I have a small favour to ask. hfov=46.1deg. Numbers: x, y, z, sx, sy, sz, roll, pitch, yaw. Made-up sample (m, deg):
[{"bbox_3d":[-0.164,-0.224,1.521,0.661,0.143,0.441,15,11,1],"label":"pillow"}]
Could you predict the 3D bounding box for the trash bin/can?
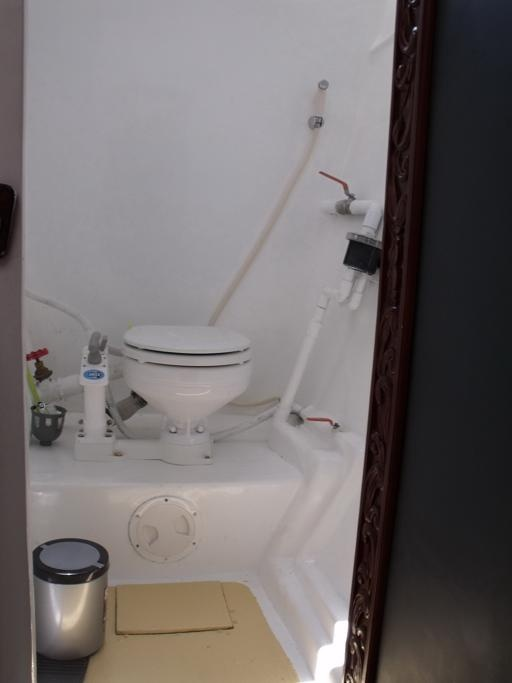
[{"bbox_3d":[-0.345,0.472,1.118,0.129,0.169,0.154,1,8,-21],"label":"trash bin/can"}]
